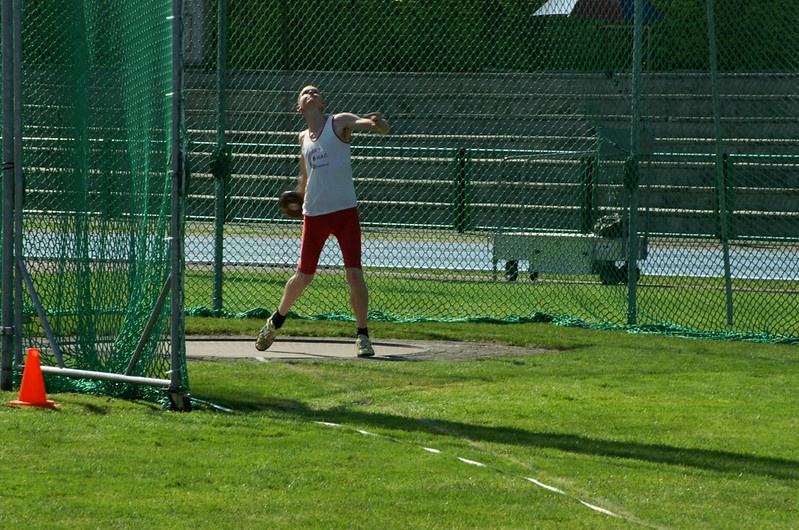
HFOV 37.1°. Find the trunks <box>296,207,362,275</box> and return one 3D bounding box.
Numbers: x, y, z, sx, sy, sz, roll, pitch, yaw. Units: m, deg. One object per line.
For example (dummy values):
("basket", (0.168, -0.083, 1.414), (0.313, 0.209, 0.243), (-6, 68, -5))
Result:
("trunks", (-0.647, -0.325, 11.310), (0.619, 0.796, 0.291), (-2, 28, -10))

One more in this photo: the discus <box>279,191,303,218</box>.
("discus", (-1.022, -0.594, 11.491), (0.231, 0.244, 0.057), (26, 36, 3))
